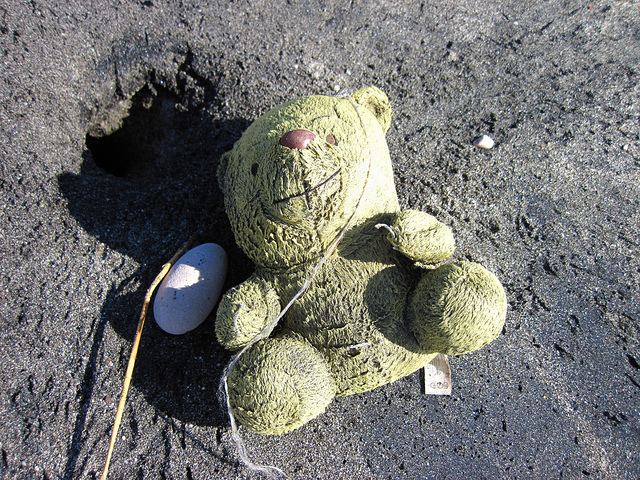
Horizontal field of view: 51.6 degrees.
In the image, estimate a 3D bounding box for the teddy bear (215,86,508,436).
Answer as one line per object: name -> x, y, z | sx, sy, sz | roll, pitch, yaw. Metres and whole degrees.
teddy bear -> 0.087, 0.002, 3.091 | 1.325, 0.423, 1.416 | -18, 80, -7
